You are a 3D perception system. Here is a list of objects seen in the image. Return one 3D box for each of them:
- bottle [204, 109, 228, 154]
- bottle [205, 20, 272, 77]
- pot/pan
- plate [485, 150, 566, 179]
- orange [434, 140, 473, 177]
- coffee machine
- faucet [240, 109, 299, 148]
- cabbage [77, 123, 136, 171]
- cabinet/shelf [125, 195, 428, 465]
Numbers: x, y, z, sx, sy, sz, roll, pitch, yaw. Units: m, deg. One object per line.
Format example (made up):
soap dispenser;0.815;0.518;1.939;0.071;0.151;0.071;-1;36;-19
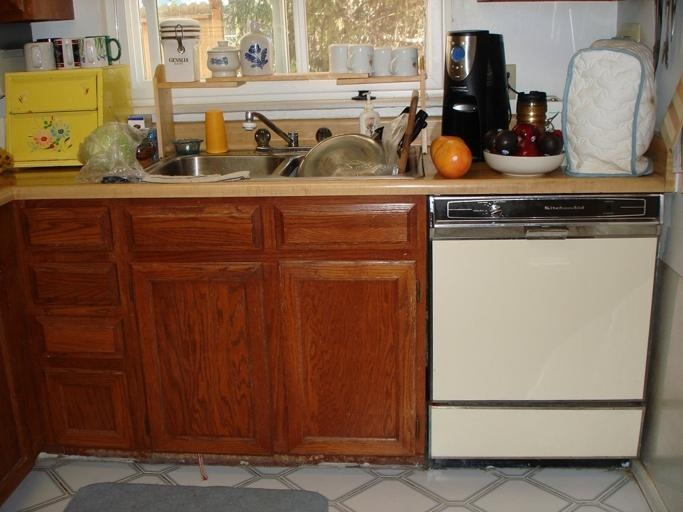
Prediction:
bottle;-0.530;-0.522;2.483;0.097;0.170;0.166;-6;21;-9
bottle;-0.398;-0.796;2.293;0.248;0.193;0.093;-4;21;-6
pot/pan;0.047;-0.479;2.328;0.496;0.234;0.421;3;19;5
plate;0.614;-0.312;1.990;0.254;0.073;0.149;2;20;12
orange;0.368;-0.329;1.977;0.127;0.119;0.144;1;20;7
coffee machine;0.497;-0.611;2.268;0.232;0.465;0.234;7;22;12
faucet;-0.277;-0.525;2.445;0.261;0.157;0.113;-12;23;-27
cabbage;-0.825;-0.421;2.205;0.230;0.176;0.187;0;20;-3
cabinet/shelf;-0.210;0.163;2.410;1.139;0.872;0.778;1;18;0
